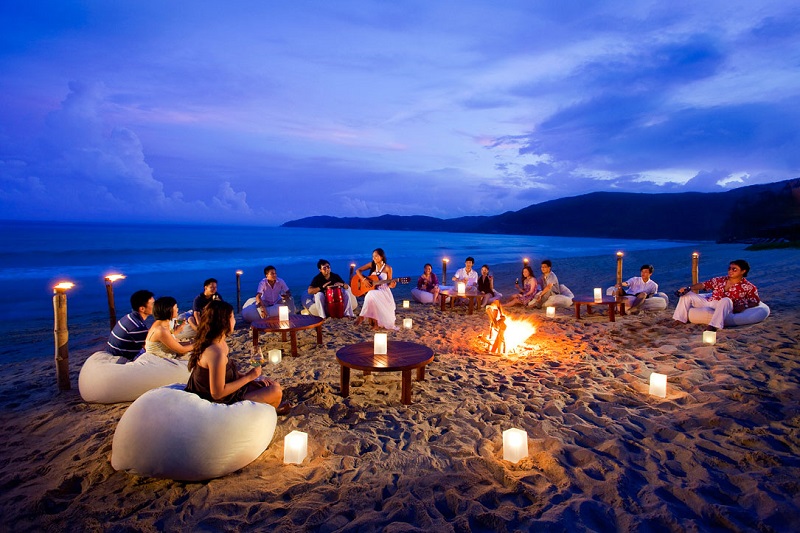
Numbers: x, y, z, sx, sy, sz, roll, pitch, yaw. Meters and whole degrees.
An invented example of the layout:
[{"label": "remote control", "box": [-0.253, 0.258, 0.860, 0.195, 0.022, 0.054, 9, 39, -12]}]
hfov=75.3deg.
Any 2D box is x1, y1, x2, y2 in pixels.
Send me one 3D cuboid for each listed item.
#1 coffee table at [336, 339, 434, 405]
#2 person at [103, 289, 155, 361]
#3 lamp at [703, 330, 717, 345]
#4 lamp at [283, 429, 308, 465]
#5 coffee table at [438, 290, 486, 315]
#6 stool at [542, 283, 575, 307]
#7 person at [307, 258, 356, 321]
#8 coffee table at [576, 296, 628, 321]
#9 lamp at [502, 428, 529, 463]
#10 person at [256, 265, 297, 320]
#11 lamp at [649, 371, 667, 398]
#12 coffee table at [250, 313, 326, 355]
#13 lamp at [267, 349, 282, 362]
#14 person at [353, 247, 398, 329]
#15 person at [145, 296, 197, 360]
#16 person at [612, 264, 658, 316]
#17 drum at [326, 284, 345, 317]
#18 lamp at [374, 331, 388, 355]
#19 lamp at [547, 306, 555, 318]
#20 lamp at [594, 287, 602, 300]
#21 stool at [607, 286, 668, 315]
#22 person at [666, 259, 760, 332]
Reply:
[{"label": "coffee table", "box": [-0.245, 1.404, 7.491, 1.013, 0.431, 1.003, 1, 4, 20]}, {"label": "person", "box": [-3.860, 0.882, 7.768, 0.681, 1.035, 0.733, -2, 16, -43]}, {"label": "lamp", "box": [5.408, 1.249, 9.162, 0.221, 0.209, 0.223, 5, 11, 24]}, {"label": "lamp", "box": [-1.256, 2.186, 6.383, 0.360, 0.333, 0.355, 0, 1, 16]}, {"label": "coffee table", "box": [1.456, 0.796, 13.090, 1.170, 0.591, 1.897, -1, 9, 4]}, {"label": "stool", "box": [3.879, 0.753, 12.849, 0.672, 0.564, 0.980, 1, 10, 16]}, {"label": "person", "box": [-1.638, 0.533, 12.060, 0.944, 1.335, 0.883, -18, 10, -30]}, {"label": "coffee table", "box": [4.399, 0.887, 11.598, 1.020, 0.582, 1.622, 2, 10, 22]}, {"label": "lamp", "box": [1.365, 2.126, 6.223, 0.306, 0.390, 0.228, 0, 11, 12]}, {"label": "person", "box": [-2.803, 0.625, 11.395, 0.763, 1.165, 0.827, 9, 17, 35]}, {"label": "lamp", "box": [3.652, 1.679, 7.411, 0.233, 0.302, 0.290, 3, 11, 25]}, {"label": "coffee table", "box": [-2.008, 1.100, 9.356, 0.891, 0.384, 0.875, 0, 1, 9]}, {"label": "lamp", "box": [-2.116, 1.534, 8.877, 0.218, 0.186, 0.236, -4, 7, -38]}, {"label": "person", "box": [-0.510, 0.454, 11.179, 0.800, 1.626, 1.198, -3, 10, -5]}, {"label": "person", "box": [-3.388, 0.885, 7.656, 0.797, 0.890, 0.583, -3, 18, -32]}, {"label": "person", "box": [5.415, 0.539, 11.975, 0.870, 1.099, 0.598, 14, 10, -9]}, {"label": "drum", "box": [-1.497, 0.802, 11.803, 0.436, 0.742, 0.193, -3, 11, -7]}, {"label": "lamp", "box": [-0.285, 1.129, 7.724, 0.276, 0.301, 0.270, -1, 3, -17]}, {"label": "lamp", "box": [3.356, 0.999, 11.562, 0.215, 0.203, 0.213, -3, -5, 23]}, {"label": "lamp", "box": [4.341, 0.605, 11.511, 0.215, 0.336, 0.218, 2, -1, 23]}, {"label": "stool", "box": [5.431, 0.853, 12.083, 0.932, 0.295, 0.912, -3, 1, -27]}, {"label": "person", "box": [6.204, 0.520, 10.169, 1.682, 1.321, 1.076, -5, 8, -27]}]
